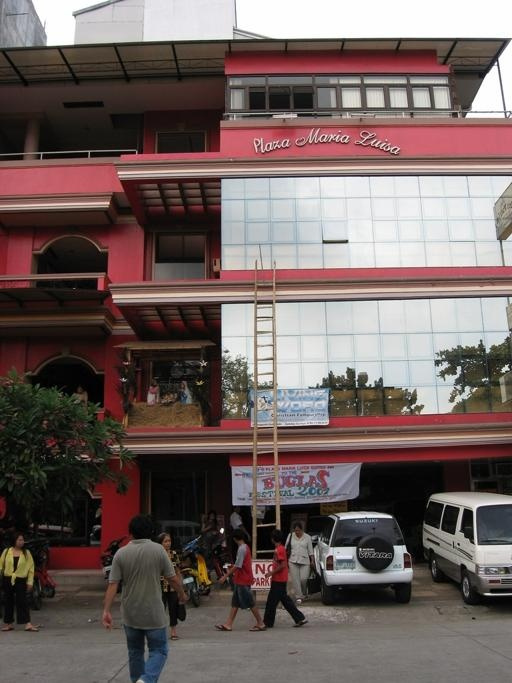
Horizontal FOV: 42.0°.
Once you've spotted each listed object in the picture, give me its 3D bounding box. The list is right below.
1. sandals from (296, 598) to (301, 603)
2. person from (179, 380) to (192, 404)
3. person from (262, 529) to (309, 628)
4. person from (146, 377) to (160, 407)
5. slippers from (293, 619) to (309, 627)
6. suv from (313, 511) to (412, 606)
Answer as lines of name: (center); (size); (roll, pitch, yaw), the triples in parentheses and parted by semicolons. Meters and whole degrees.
sandals: (0.803, 4.897, 12.600); (0.078, 0.098, 0.048); (0, 8, -2)
person: (-1.937, 1.434, 18.487); (0.352, 0.694, 1.070); (-2, -10, -6)
person: (0.401, 3.638, 10.194); (0.636, 1.478, 0.961); (-3, -10, 2)
person: (-2.869, 1.415, 18.636); (0.325, 0.817, 1.405); (-2, -10, -8)
slippers: (0.679, 4.256, 10.094); (0.114, 0.128, 0.318); (-9, -22, -13)
suv: (1.883, 3.850, 12.221); (1.276, 1.036, 2.108); (0, -5, 0)
